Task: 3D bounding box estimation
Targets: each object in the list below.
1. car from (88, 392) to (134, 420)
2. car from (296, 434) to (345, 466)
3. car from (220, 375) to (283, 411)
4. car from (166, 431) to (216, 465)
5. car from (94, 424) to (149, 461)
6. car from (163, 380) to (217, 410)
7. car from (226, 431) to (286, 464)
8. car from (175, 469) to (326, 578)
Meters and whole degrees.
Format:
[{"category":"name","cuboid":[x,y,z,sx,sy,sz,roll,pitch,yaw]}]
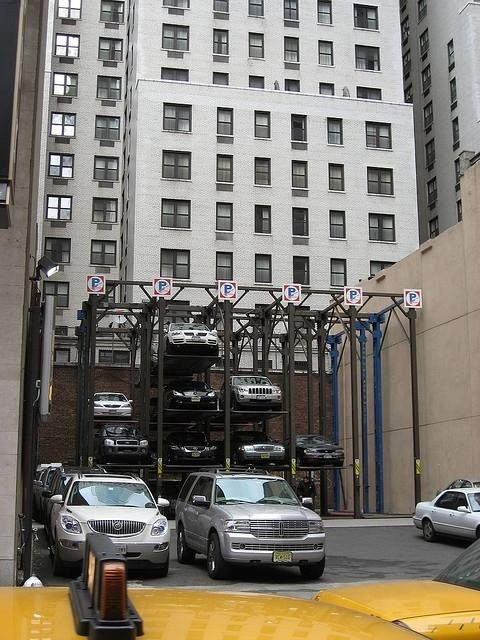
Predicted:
[{"category":"car","cuboid":[-5.181,3.476,32.437,1.529,1.001,1.761,2,-8,-18]},{"category":"car","cuboid":[2.893,4.788,29.352,1.668,1.113,1.380,-1,-8,4]},{"category":"car","cuboid":[0.562,2.663,29.444,1.869,1.274,1.318,0,-8,-1]},{"category":"car","cuboid":[-1.674,4.368,27.473,1.725,1.076,1.456,-2,-8,13]},{"category":"car","cuboid":[-4.030,4.186,27.202,1.458,1.269,2.130,4,-9,-28]},{"category":"car","cuboid":[-1.724,2.680,28.644,1.700,1.014,0.949,2,-8,-14]},{"category":"car","cuboid":[0.578,4.424,27.962,1.479,1.142,3.132,1,-8,-8]},{"category":"car","cuboid":[-0.032,3.554,13.956,1.378,1.270,2.745,6,-23,-13]}]
